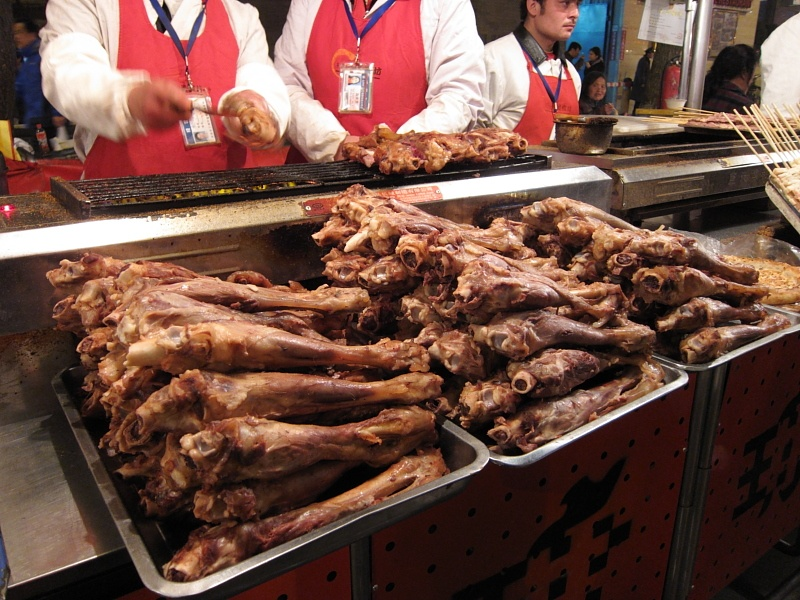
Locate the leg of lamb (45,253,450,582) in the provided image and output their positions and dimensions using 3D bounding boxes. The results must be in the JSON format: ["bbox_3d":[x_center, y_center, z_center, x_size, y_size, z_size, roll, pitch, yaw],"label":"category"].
[{"bbox_3d":[-0.333,0.276,1.603,0.924,0.819,0.386,-17,-14,-26],"label":"leg of lamb"}]

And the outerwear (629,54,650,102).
[{"bbox_3d":[3.730,-3.511,8.917,0.288,0.762,0.149,-11,21,-11],"label":"outerwear"}]

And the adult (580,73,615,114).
[{"bbox_3d":[2.610,-2.836,7.733,0.287,0.542,0.897,10,24,37],"label":"adult"}]

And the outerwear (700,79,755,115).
[{"bbox_3d":[3.779,-2.410,6.676,0.464,0.354,0.722,4,21,25],"label":"outerwear"}]

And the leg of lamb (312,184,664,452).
[{"bbox_3d":[0.472,0.041,2.274,1.327,0.861,1.041,6,16,44],"label":"leg of lamb"}]

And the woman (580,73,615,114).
[{"bbox_3d":[2.618,-2.840,7.742,0.287,0.542,0.921,10,24,37],"label":"woman"}]
